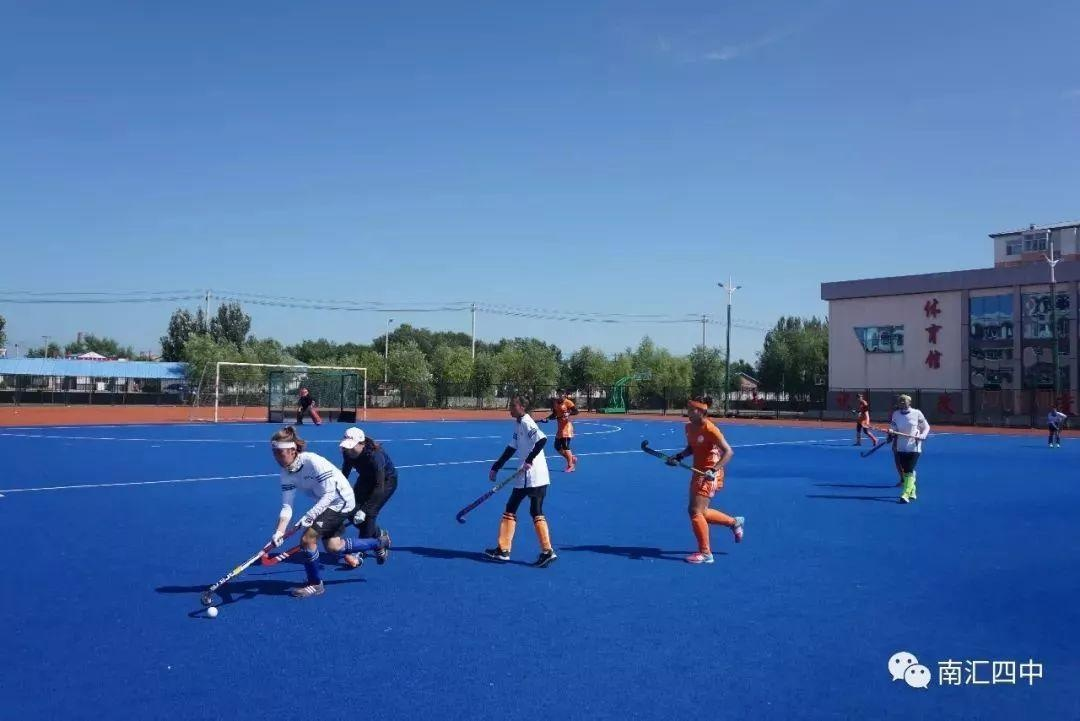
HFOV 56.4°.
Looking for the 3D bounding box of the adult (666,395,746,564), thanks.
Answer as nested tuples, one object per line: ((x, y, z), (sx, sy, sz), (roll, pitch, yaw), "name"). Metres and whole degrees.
((2.469, 1.714, 15.111), (1.072, 2.409, 1.792), (2, 12, 10), "adult")

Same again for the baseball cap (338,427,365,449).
((-2.655, 1.089, 14.263), (0.245, 0.216, 0.402), (7, 3, 6), "baseball cap")

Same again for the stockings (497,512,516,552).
((-0.525, 2.502, 14.611), (0.262, 0.603, 0.219), (-7, 14, -33), "stockings")

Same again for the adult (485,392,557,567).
((-0.373, 2.171, 18.320), (1.052, 2.423, 0.973), (6, -40, -4), "adult")

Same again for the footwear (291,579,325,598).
((-3.094, 3.038, 13.389), (0.411, 0.185, 0.187), (5, -11, -35), "footwear")

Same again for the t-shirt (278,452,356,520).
((-3.067, 1.673, 13.783), (1.081, 1.127, 0.902), (-7, 9, -20), "t-shirt")

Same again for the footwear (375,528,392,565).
((-2.292, 2.682, 14.258), (0.170, 0.552, 0.239), (8, 32, 19), "footwear")

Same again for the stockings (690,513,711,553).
((2.304, 2.518, 14.622), (0.264, 0.633, 0.346), (3, 12, 11), "stockings")

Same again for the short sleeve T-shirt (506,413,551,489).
((-0.171, 1.301, 14.660), (0.523, 0.988, 0.795), (0, 12, -2), "short sleeve T-shirt")

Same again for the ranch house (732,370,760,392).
((23.072, 2.373, 114.201), (3.387, 1.454, 2.598), (1, -2, 24), "ranch house")

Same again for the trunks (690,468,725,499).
((2.418, 1.797, 14.735), (0.345, 0.437, 0.586), (-3, -3, 30), "trunks")

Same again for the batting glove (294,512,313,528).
((-3.170, 2.132, 13.498), (0.196, 0.158, 0.311), (-3, 12, -16), "batting glove")

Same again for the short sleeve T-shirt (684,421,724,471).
((2.376, 1.228, 14.844), (0.376, 0.734, 0.822), (-15, 14, -35), "short sleeve T-shirt")

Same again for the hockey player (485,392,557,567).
((-0.373, 2.171, 18.320), (1.052, 2.423, 0.973), (6, -40, -4), "hockey player")

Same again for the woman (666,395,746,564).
((2.468, 1.710, 15.153), (1.069, 2.420, 1.868), (2, 12, 9), "woman")

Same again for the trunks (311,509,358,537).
((-2.827, 2.188, 13.672), (0.447, 0.441, 0.275), (10, -37, 24), "trunks")

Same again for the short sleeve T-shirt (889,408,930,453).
((6.819, 1.348, 18.794), (0.621, 0.917, 0.975), (5, 12, 20), "short sleeve T-shirt")

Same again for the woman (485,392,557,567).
((-0.373, 2.171, 18.320), (1.052, 2.423, 0.973), (6, -40, -4), "woman")

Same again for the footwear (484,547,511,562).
((-0.630, 2.820, 14.582), (0.362, 0.154, 0.165), (12, -9, 10), "footwear")
